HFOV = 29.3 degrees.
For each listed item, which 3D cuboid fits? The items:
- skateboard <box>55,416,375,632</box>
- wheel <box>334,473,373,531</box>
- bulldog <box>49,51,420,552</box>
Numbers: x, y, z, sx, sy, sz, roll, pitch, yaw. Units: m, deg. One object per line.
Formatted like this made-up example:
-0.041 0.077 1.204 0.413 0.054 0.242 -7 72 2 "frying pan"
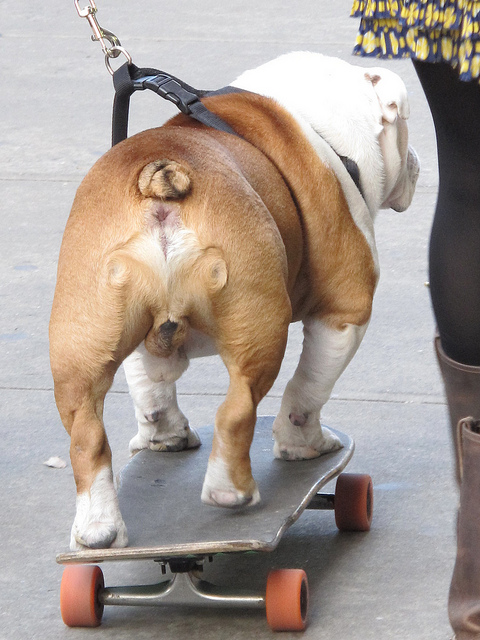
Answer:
-0.034 0.474 2.238 0.489 0.187 0.784 -1 9 16 "skateboard"
0.322 0.497 2.548 0.108 0.155 0.174 8 3 5 "wheel"
-0.013 -0.121 2.222 0.447 1.107 1.118 9 14 28 "bulldog"
